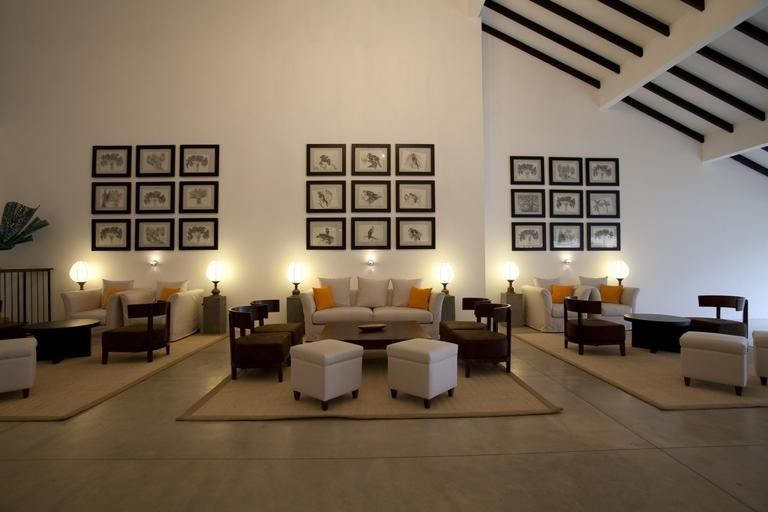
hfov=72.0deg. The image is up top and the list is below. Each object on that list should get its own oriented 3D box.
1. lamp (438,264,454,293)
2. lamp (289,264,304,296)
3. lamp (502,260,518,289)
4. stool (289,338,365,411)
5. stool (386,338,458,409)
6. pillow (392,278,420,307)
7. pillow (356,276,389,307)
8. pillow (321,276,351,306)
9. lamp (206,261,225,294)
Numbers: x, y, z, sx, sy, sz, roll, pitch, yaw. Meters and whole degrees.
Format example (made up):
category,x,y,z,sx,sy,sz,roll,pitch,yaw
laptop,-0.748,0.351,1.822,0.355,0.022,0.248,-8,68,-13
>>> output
category,x,y,z,sx,sy,sz,roll,pitch,yaw
lamp,1.296,0.459,11.038,0.302,0.630,0.534,-2,-3,8
lamp,-1.863,0.469,11.018,0.310,0.641,0.418,-2,-2,0
lamp,2.802,0.435,11.701,0.331,0.672,0.460,-2,-2,13
stool,-0.819,1.553,7.649,0.886,0.930,0.911,-3,3,-37
stool,0.552,1.633,7.758,0.862,0.933,0.926,-4,-4,36
pillow,0.426,0.748,10.503,0.453,0.459,0.174,1,-22,1
pillow,-0.240,0.735,10.586,0.482,0.498,0.184,2,-14,-3
pillow,-0.977,0.720,10.508,0.481,0.515,0.181,0,-25,-12
lamp,-3.590,0.446,11.032,0.360,0.699,0.427,-2,-2,-3
